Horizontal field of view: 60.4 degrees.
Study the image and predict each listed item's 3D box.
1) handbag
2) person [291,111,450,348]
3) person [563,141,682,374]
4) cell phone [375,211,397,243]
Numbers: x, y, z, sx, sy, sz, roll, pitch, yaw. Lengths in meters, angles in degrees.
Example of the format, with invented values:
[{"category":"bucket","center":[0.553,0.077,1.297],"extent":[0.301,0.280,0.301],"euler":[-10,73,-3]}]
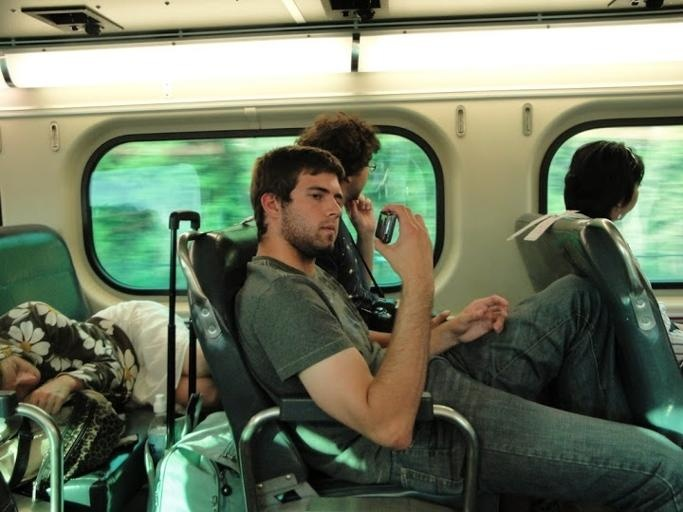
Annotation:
[{"category":"handbag","center":[-1.110,0.811,2.510],"extent":[0.270,0.396,0.143],"euler":[22,-16,19]},{"category":"person","center":[0.090,-0.224,3.155],"extent":[0.415,1.180,0.848],"euler":[-23,-3,20]},{"category":"person","center":[1.523,-0.059,3.205],"extent":[0.367,1.163,0.636],"euler":[-23,23,-40]},{"category":"cell phone","center":[0.166,-0.113,2.220],"extent":[0.068,0.132,0.047],"euler":[13,-4,30]}]
